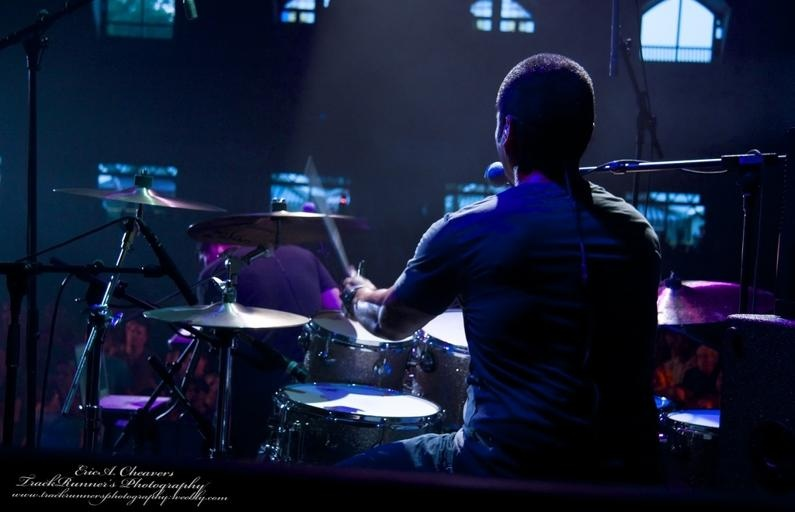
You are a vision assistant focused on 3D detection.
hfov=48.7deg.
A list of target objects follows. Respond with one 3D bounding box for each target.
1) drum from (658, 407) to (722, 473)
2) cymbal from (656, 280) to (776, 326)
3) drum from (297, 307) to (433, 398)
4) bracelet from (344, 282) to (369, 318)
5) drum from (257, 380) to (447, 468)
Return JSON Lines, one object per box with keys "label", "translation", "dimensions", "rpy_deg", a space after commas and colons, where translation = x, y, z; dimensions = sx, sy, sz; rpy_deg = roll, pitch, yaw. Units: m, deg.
{"label": "drum", "translation": [2.382, 1.486, 7.195], "dimensions": [0.564, 0.350, 0.539], "rpy_deg": [2, -2, 0]}
{"label": "cymbal", "translation": [2.551, 0.414, 7.565], "dimensions": [0.653, 0.148, 0.626], "rpy_deg": [-8, 14, -34]}
{"label": "drum", "translation": [-0.364, 0.743, 7.568], "dimensions": [0.763, 0.512, 0.719], "rpy_deg": [16, 6, -2]}
{"label": "bracelet", "translation": [-0.335, 0.316, 6.207], "dimensions": [0.193, 0.189, 0.198], "rpy_deg": [12, -27, -37]}
{"label": "drum", "translation": [-0.377, 1.296, 6.896], "dimensions": [0.876, 0.280, 0.841], "rpy_deg": [3, 0, 0]}
